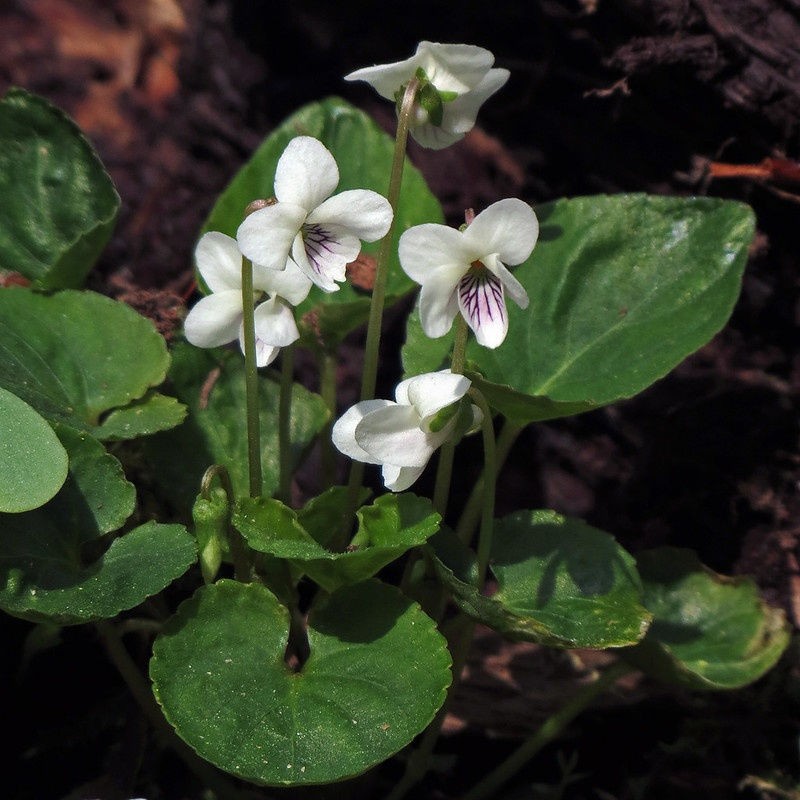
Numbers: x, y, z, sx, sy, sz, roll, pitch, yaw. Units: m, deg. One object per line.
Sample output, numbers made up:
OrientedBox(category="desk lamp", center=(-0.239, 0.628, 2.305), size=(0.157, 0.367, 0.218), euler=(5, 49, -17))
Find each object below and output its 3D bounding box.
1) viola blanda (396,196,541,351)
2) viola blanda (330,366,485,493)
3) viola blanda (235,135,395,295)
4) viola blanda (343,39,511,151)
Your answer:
OrientedBox(category="viola blanda", center=(0.085, -0.148, 1.001), size=(0.170, 0.153, 0.058), euler=(1, 40, -24))
OrientedBox(category="viola blanda", center=(0.008, 0.037, 1.063), size=(0.128, 0.114, 0.054), euler=(12, 35, 36))
OrientedBox(category="viola blanda", center=(-0.116, -0.211, 1.047), size=(0.044, 0.186, 0.179), euler=(-21, 87, 4))
OrientedBox(category="viola blanda", center=(0.032, -0.373, 1.138), size=(0.113, 0.156, 0.188), euler=(37, 46, 23))
